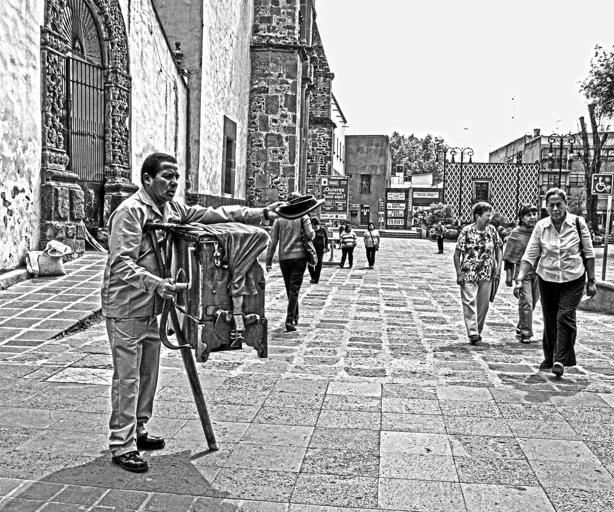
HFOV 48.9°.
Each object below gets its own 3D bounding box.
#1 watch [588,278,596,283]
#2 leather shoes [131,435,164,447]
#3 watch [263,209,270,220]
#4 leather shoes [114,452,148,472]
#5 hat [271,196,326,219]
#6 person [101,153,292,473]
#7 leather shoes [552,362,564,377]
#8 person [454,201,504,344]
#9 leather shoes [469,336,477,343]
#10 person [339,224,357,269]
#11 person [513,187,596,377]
[{"bbox_3d":[2.924,0.250,6.970,0.059,0.037,0.063,-2,2,31],"label":"watch"},{"bbox_3d":[-1.121,1.291,4.730,0.206,0.112,0.081,1,6,-7],"label":"leather shoes"},{"bbox_3d":[-0.283,-0.287,4.684,0.022,0.065,0.045,-8,-6,0],"label":"watch"},{"bbox_3d":[-1.128,1.325,4.353,0.218,0.113,0.102,0,-3,31],"label":"leather shoes"},{"bbox_3d":[-0.068,-0.326,4.621,0.212,0.058,0.189,-23,19,9],"label":"hat"},{"bbox_3d":[-0.867,0.347,4.532,0.976,2.049,0.685,0,4,-17],"label":"person"},{"bbox_3d":[2.484,1.123,6.711,0.070,0.094,0.198,-2,-24,8],"label":"leather shoes"},{"bbox_3d":[2.188,0.197,8.803,0.508,1.772,0.861,4,5,30],"label":"person"},{"bbox_3d":[2.073,1.043,8.459,0.104,0.116,0.084,3,5,21],"label":"leather shoes"},{"bbox_3d":[1.294,-0.400,21.289,0.446,1.366,0.431,2,26,3],"label":"person"},{"bbox_3d":[2.627,0.250,7.154,0.721,1.908,1.075,2,4,9],"label":"person"}]
